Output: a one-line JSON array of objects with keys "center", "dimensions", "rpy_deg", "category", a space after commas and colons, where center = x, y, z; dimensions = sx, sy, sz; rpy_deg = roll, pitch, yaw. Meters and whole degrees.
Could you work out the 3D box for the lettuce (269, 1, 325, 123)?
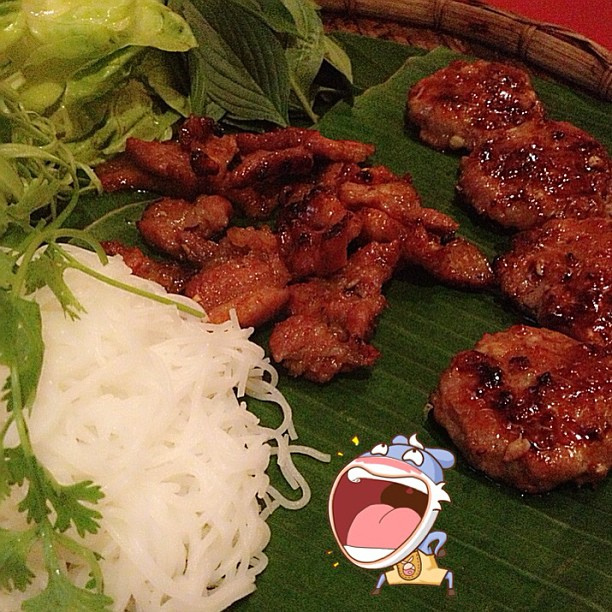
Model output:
[{"center": [-0.009, -1.825, 5.343], "dimensions": [0.432, 0.142, 0.827], "rpy_deg": [-17, 79, 8], "category": "lettuce"}]
